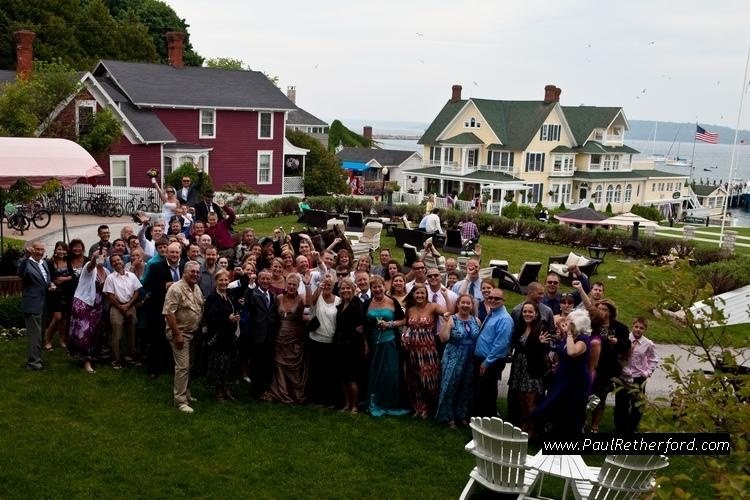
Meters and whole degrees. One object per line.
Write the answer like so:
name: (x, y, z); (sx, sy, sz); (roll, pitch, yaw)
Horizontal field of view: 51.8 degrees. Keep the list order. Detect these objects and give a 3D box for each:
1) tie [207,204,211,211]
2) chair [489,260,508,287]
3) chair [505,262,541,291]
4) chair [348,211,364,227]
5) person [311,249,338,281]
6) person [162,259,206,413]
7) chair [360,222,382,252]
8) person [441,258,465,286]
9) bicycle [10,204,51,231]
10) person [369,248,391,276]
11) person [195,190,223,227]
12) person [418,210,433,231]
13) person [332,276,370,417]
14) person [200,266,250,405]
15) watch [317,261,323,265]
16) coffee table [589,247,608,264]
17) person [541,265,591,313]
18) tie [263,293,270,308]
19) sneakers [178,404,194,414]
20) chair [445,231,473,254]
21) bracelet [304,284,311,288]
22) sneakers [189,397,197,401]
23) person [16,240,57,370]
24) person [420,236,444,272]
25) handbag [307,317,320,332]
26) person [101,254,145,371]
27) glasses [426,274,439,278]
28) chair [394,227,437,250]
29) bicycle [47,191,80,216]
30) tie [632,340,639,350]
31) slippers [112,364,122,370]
tie: (-4.865, -1.254, 22.528); (0.096, 0.185, 0.042); (-2, 3, -38)
chair: (4.150, 0.791, 25.783); (0.660, 0.892, 0.808); (4, 18, 13)
chair: (4.857, 0.896, 25.378); (0.843, 0.930, 1.192); (0, 3, -25)
chair: (-0.859, -1.413, 34.309); (0.551, 0.796, 0.652); (3, 11, 10)
person: (-1.191, 0.378, 18.316); (0.633, 1.259, 0.380); (2, -4, -23)
person: (-4.121, 1.847, 16.513); (0.833, 3.211, 0.585); (3, 3, -15)
chair: (-0.147, -0.491, 30.009); (0.803, 1.235, 1.014); (7, 23, 22)
person: (1.816, 0.503, 18.122); (0.487, 0.893, 0.776); (-1, 6, 16)
bicycle: (-14.177, -1.363, 31.561); (1.563, 1.068, 1.026); (-3, 15, -11)
person: (0.147, 0.337, 20.830); (0.519, 0.855, 0.338); (4, 2, -2)
person: (-4.835, -1.293, 22.427); (0.802, 1.275, 0.917); (-10, 20, -38)
person: (2.140, -1.221, 31.854); (0.514, 0.747, 0.704); (-2, 0, 42)
person: (-0.566, 2.087, 16.662); (0.736, 2.894, 0.404); (4, 3, -4)
person: (-3.247, 1.862, 16.761); (0.757, 2.891, 0.940); (6, 4, 44)
watch: (-1.288, 0.320, 18.497); (0.068, 0.067, 0.090); (-1, -3, 34)
coffee table: (9.197, 0.209, 31.610); (0.578, 0.463, 0.586); (-2, 4, -37)
person: (4.808, 0.986, 19.285); (0.935, 1.833, 0.528); (1, 4, -2)
tie: (-2.340, 1.078, 16.798); (0.124, 0.257, 0.056); (0, 0, -39)
sneakers: (-4.025, 3.399, 16.433); (0.184, 0.149, 0.422); (7, 10, -33)
chair: (3.291, -0.325, 30.046); (0.774, 0.809, 1.028); (3, 9, 25)
bracelet: (-1.488, 0.805, 17.309); (0.075, 0.086, 0.084); (0, 1, -43)
sneakers: (-3.955, 3.288, 16.832); (0.183, 0.064, 0.116); (-10, -32, 39)
person: (-7.776, 1.279, 17.521); (0.592, 2.905, 0.448); (2, 3, -26)
person: (1.984, 0.164, 25.933); (0.657, 0.889, 2.243); (0, -2, 15)
handbag: (-1.322, 1.619, 16.610); (0.295, 0.308, 0.074); (7, 9, 23)
person: (-5.840, 1.426, 17.759); (0.820, 2.694, 0.817); (3, 3, -19)
glasses: (1.274, 0.556, 16.777); (0.263, 0.117, 0.144); (4, 3, -5)
chair: (1.520, -0.531, 30.823); (0.820, 0.854, 1.462); (-5, 10, -36)
bicycle: (-15.046, -2.243, 37.154); (0.828, 1.130, 1.708); (7, 10, 29)
tie: (5.518, 2.021, 16.305); (0.045, 0.183, 0.126); (4, 9, 31)
slippers: (-5.991, 2.718, 17.934); (0.191, 0.118, 0.066); (5, -10, -31)
